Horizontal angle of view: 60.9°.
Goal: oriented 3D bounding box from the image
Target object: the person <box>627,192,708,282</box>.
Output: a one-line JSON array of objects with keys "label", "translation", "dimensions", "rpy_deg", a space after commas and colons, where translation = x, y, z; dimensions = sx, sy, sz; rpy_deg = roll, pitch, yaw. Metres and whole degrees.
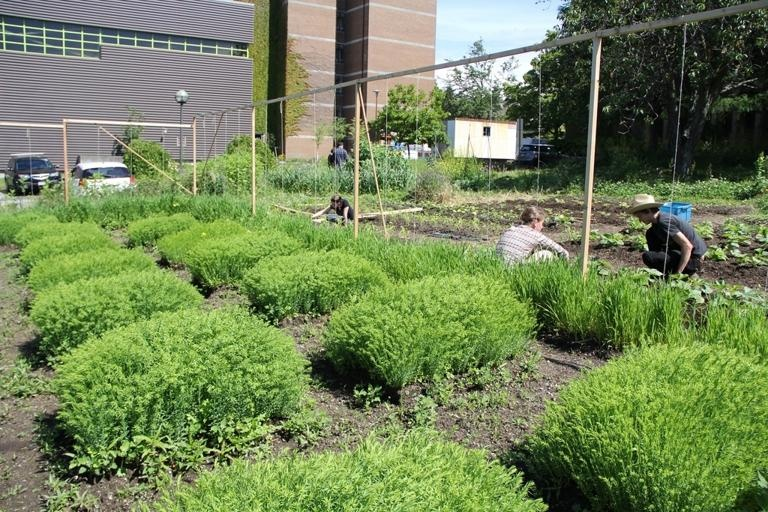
[{"label": "person", "translation": [3.622, -0.238, 8.477], "dimensions": [0.791, 1.053, 1.135], "rpy_deg": [10, 14, 40]}]

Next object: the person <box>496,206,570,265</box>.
[{"label": "person", "translation": [1.783, -0.280, 8.224], "dimensions": [0.926, 0.648, 0.667], "rpy_deg": [-4, 12, -24]}]

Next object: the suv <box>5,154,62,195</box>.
[{"label": "suv", "translation": [-11.564, -2.653, 21.427], "dimensions": [1.794, 1.716, 3.085], "rpy_deg": [-7, 12, -35]}]

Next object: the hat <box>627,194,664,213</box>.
[{"label": "hat", "translation": [3.417, -0.680, 8.562], "dimensions": [0.306, 0.238, 0.444], "rpy_deg": [7, 12, 23]}]

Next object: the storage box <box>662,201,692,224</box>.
[{"label": "storage box", "translation": [4.389, -0.655, 9.806], "dimensions": [0.445, 0.298, 0.455], "rpy_deg": [-5, 9, -21]}]
